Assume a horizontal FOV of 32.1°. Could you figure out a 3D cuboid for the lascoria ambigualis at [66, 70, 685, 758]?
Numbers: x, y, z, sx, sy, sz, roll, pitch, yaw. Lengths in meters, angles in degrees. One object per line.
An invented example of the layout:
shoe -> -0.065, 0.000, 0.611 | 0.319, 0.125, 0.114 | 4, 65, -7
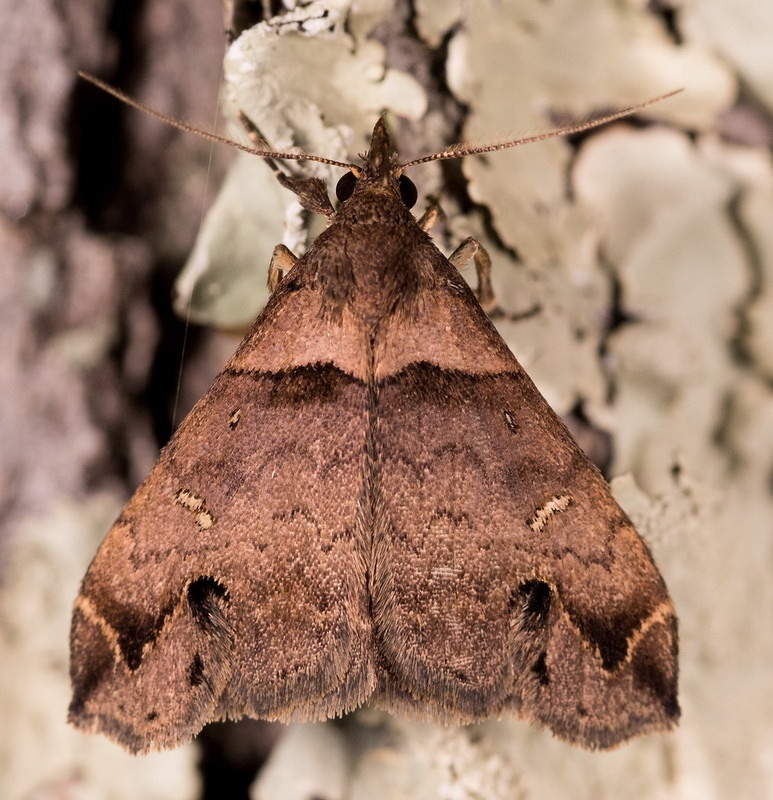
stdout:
lascoria ambigualis -> 0.006, 0.052, 3.657 | 1.308, 0.502, 1.774 | -1, 79, 1
